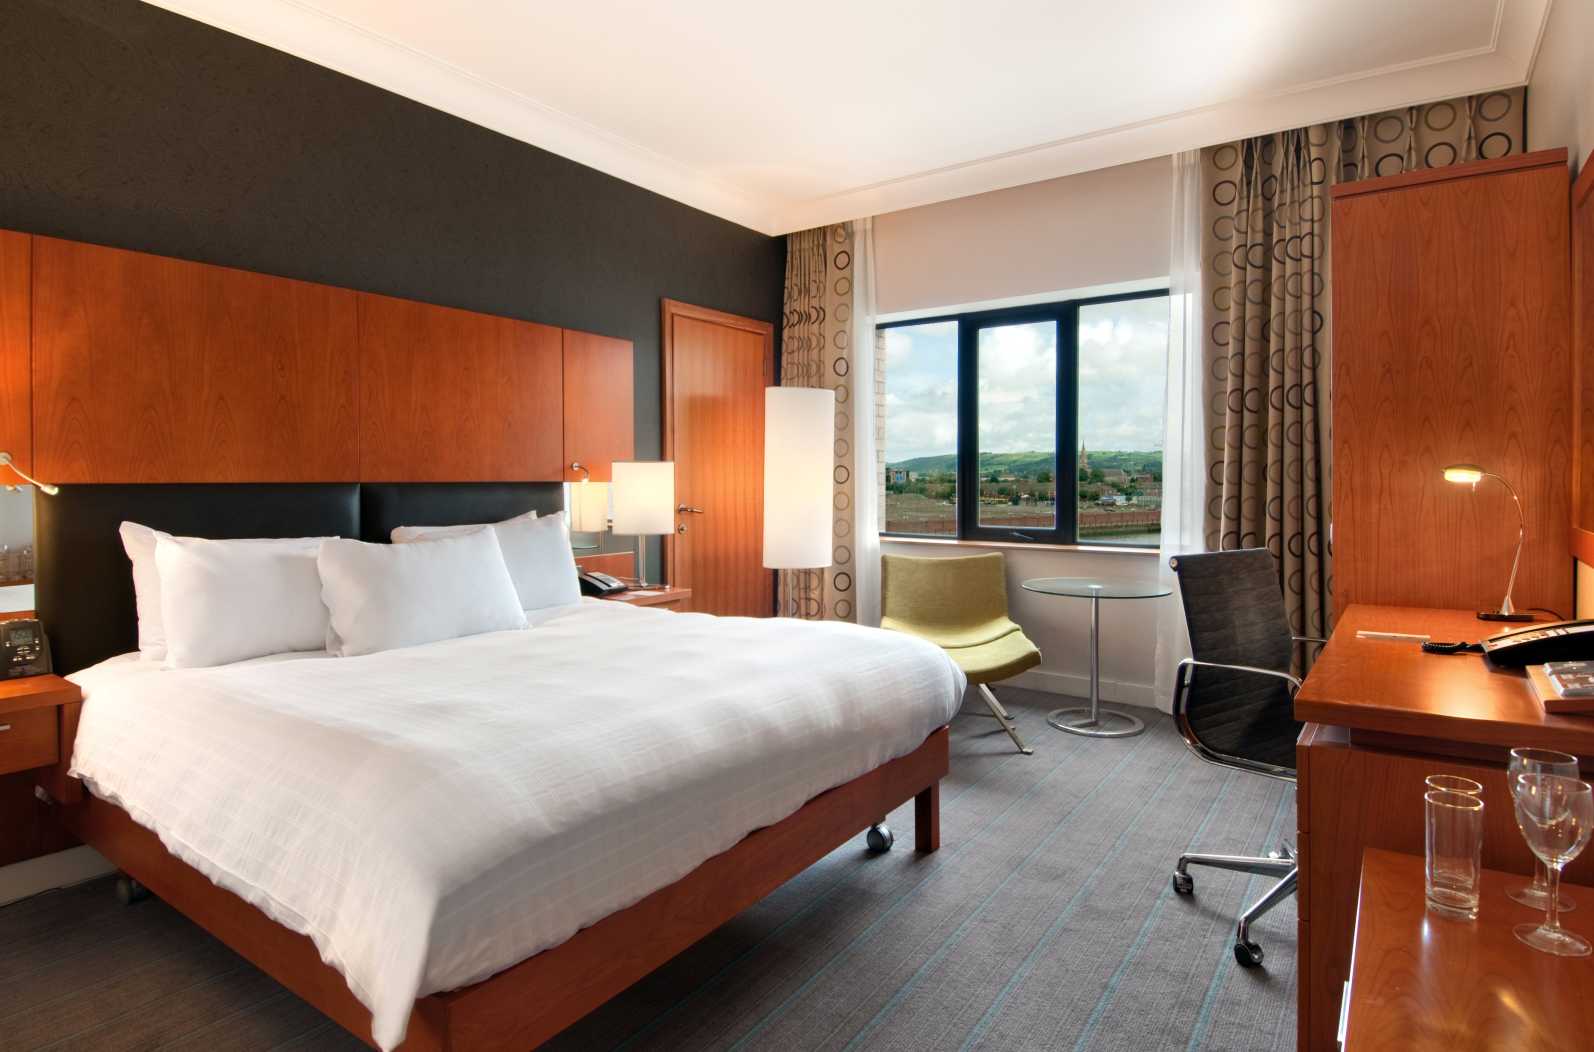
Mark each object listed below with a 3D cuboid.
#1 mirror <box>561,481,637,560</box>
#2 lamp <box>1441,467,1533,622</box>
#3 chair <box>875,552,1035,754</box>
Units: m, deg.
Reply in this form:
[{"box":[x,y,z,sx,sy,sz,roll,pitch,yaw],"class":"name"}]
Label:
[{"box":[-1.260,-0.037,5.876,0.377,0.687,0.385,-2,0,22],"class":"mirror"},{"box":[2.779,0.076,3.946,0.280,0.596,0.254,-1,4,29],"class":"lamp"},{"box":[1.181,0.708,5.833,1.015,1.277,1.061,-1,-2,-3],"class":"chair"}]
